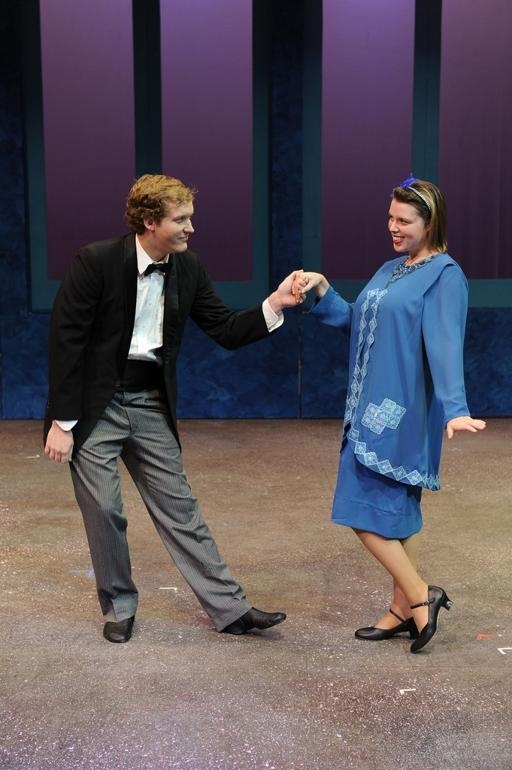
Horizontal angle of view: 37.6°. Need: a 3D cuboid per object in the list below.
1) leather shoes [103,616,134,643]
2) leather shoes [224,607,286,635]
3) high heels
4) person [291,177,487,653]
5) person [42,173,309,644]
[{"bbox_3d":[-0.428,0.781,2.370,0.047,0.073,0.113,0,-19,2],"label":"leather shoes"},{"bbox_3d":[-0.012,0.759,2.397,0.172,0.069,0.052,-26,-10,20],"label":"leather shoes"},{"bbox_3d":[0.421,0.756,2.411,0.413,0.185,0.133,-22,5,43],"label":"high heels"},{"bbox_3d":[0.395,0.113,2.227,0.448,1.437,0.723,0,9,-2],"label":"person"},{"bbox_3d":[-0.285,0.088,2.434,0.752,1.507,0.433,0,10,-1],"label":"person"}]
